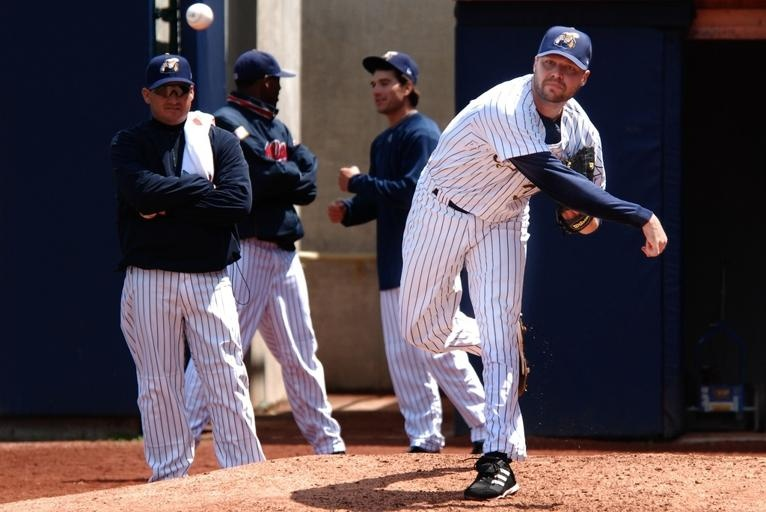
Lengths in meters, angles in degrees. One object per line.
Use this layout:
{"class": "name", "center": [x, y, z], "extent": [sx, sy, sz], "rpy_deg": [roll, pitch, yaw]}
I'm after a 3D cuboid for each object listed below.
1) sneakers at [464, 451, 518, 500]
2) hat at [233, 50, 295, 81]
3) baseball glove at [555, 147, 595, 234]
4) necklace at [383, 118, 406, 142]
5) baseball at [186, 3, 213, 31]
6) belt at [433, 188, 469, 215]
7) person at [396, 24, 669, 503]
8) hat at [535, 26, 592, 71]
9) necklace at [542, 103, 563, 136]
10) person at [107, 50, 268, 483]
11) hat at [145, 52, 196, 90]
{"class": "sneakers", "center": [0.719, 1.466, 8.362], "extent": [0.240, 0.273, 0.369], "rpy_deg": [1, 7, 36]}
{"class": "hat", "center": [-0.924, -1.425, 9.585], "extent": [0.380, 0.193, 0.238], "rpy_deg": [-11, 21, -19]}
{"class": "baseball glove", "center": [1.360, -0.454, 8.680], "extent": [0.212, 0.519, 0.299], "rpy_deg": [28, 2, 39]}
{"class": "necklace", "center": [0.077, -0.957, 9.718], "extent": [0.190, 0.072, 0.136], "rpy_deg": [-41, 19, -33]}
{"class": "baseball", "center": [-1.536, -2.020, 10.624], "extent": [0.279, 0.223, 0.193], "rpy_deg": [-6, 6, -27]}
{"class": "belt", "center": [0.462, -0.388, 8.619], "extent": [0.189, 0.067, 0.170], "rpy_deg": [40, -6, -4]}
{"class": "person", "center": [0.850, 0.018, 8.614], "extent": [1.442, 3.083, 0.915], "rpy_deg": [-3, 6, -7]}
{"class": "hat", "center": [1.232, -1.402, 8.442], "extent": [0.371, 0.267, 0.494], "rpy_deg": [15, 7, 20]}
{"class": "necklace", "center": [1.133, -0.919, 8.422], "extent": [0.116, 0.158, 0.126], "rpy_deg": [-4, -3, -6]}
{"class": "person", "center": [-1.387, 0.083, 8.845], "extent": [0.950, 2.967, 0.395], "rpy_deg": [-4, 6, -14]}
{"class": "hat", "center": [-1.527, -1.309, 8.907], "extent": [0.386, 0.273, 0.477], "rpy_deg": [-5, 6, 6]}
